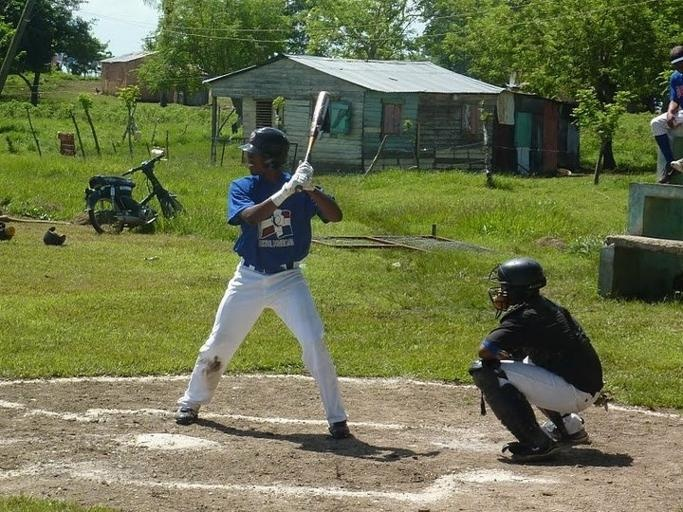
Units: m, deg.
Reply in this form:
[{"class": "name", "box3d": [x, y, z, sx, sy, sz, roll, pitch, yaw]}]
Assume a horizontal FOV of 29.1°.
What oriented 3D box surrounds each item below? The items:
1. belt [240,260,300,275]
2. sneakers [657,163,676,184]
[{"class": "belt", "box3d": [-1.330, 0.214, 24.406, 1.090, 0.245, 0.196, 1, 7, 1]}, {"class": "sneakers", "box3d": [7.271, -1.828, 29.257, 0.151, 0.240, 0.419, -36, -5, -21]}]
